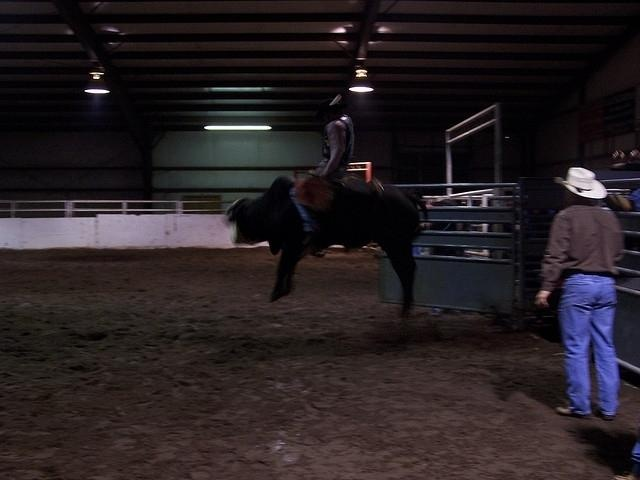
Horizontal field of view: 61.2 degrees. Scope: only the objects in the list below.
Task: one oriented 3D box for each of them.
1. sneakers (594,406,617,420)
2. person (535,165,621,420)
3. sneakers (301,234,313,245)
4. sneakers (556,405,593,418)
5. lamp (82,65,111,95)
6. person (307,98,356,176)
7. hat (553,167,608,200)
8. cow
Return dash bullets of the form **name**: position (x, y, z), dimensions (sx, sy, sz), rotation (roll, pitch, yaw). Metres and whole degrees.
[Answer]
- **sneakers**: position (1.960, 1.194, 3.742), dimensions (0.071, 0.057, 0.161), rotation (0, 1, 12)
- **person**: position (1.845, 0.365, 3.818), dimensions (0.571, 1.727, 0.473), rotation (4, 10, 23)
- **sneakers**: position (-0.118, -0.010, 5.161), dimensions (0.090, 0.124, 0.154), rotation (-1, 8, -5)
- **sneakers**: position (1.760, 1.186, 3.800), dimensions (0.249, 0.075, 0.086), rotation (3, 2, 29)
- **lamp**: position (-6.648, -4.805, 16.060), dimensions (0.493, 0.742, 0.519), rotation (0, 8, -1)
- **person**: position (0.136, -1.052, 5.466), dimensions (0.393, 0.840, 0.528), rotation (0, 8, 1)
- **hat**: position (1.856, -0.415, 3.872), dimensions (0.297, 0.099, 0.314), rotation (-3, 26, -40)
- **cow**: position (0.163, 0.126, 5.599), dimensions (1.962, 1.535, 0.846), rotation (-3, 9, -21)
